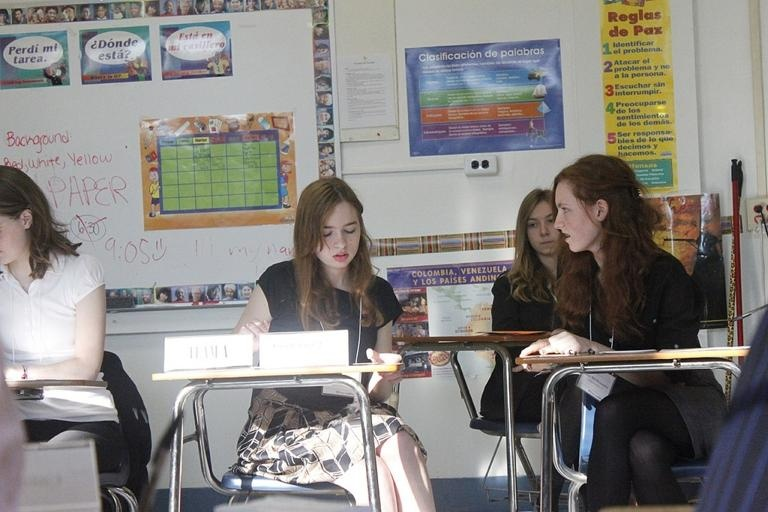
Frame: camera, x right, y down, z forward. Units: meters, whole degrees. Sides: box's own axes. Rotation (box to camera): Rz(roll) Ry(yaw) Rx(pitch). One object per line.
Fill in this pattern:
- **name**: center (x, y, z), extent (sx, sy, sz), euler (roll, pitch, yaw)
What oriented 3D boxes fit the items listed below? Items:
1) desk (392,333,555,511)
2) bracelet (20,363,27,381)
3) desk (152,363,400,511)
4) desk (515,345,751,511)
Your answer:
- **desk**: center (0.430, 0.698, 4.450), extent (0.845, 1.005, 1.101), euler (-4, -8, 11)
- **bracelet**: center (-1.500, 0.492, 3.560), extent (0.036, 0.049, 0.022), euler (-1, -5, -11)
- **desk**: center (-0.457, 0.580, 3.588), extent (0.898, 0.817, 0.689), euler (-1, -11, -3)
- **desk**: center (0.984, 0.545, 3.595), extent (1.001, 0.757, 0.793), euler (-1, -9, 3)
